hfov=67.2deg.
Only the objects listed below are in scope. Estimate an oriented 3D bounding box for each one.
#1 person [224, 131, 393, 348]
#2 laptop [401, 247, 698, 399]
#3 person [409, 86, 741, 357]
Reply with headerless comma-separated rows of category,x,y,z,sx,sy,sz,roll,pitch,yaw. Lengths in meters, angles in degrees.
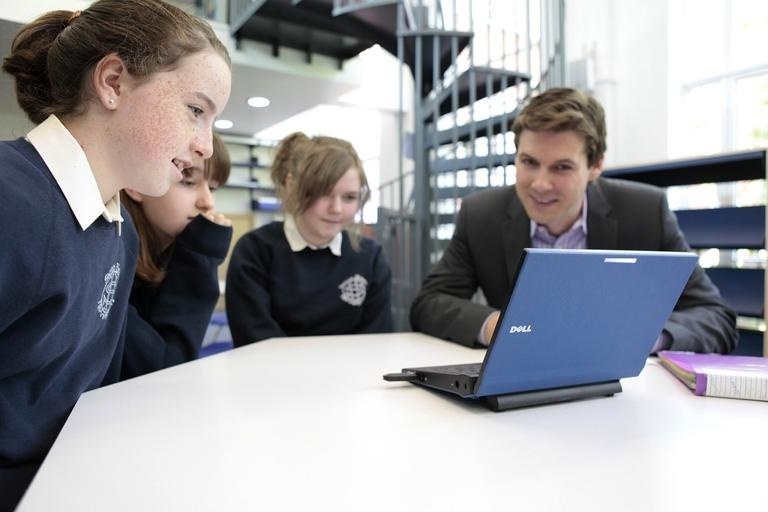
person,-0.261,-0.019,2.190,0.581,0.871,0.472,6,-3,-16
laptop,0.392,0.131,1.235,0.391,0.275,0.394,0,5,-24
person,0.670,-0.137,2.058,1.117,0.860,0.743,0,2,29
